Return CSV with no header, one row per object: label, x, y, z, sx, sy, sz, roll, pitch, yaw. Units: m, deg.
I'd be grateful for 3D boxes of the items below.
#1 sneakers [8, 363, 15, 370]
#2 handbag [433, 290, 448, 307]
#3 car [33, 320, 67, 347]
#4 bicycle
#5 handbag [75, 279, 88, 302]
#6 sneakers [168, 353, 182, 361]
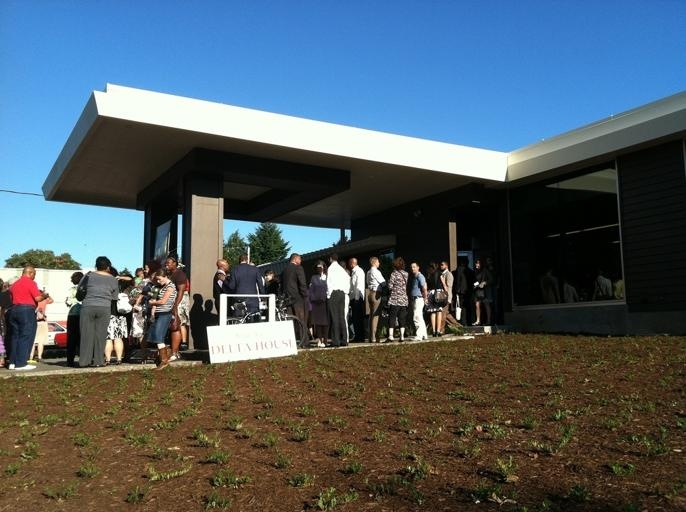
sneakers,-6.542,2.183,9.681,0.120,0.095,0.125,-1,-1,-10
handbag,2.449,1.080,12.407,0.353,0.382,0.185,2,-11,-28
car,-13.031,3.487,22.301,0.750,0.997,6.674,3,-7,-31
bicycle,-1.736,1.490,11.333,1.888,1.226,0.978,0,-8,-16
handbag,-4.992,0.654,9.393,0.269,0.385,0.392,1,-10,-12
sneakers,-3.206,1.991,9.648,0.158,0.177,0.397,-7,-15,40
